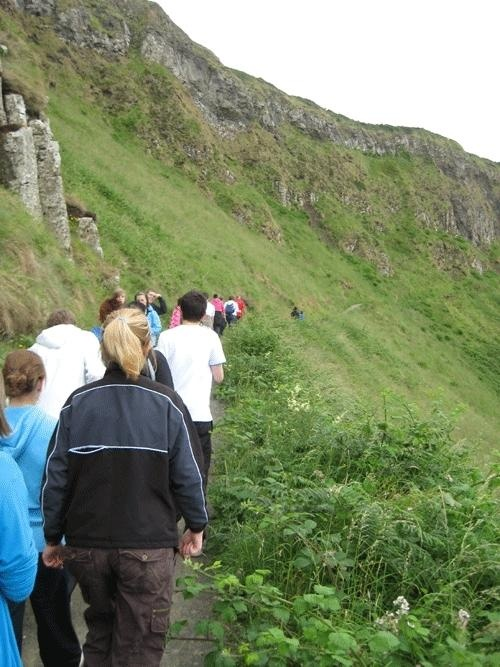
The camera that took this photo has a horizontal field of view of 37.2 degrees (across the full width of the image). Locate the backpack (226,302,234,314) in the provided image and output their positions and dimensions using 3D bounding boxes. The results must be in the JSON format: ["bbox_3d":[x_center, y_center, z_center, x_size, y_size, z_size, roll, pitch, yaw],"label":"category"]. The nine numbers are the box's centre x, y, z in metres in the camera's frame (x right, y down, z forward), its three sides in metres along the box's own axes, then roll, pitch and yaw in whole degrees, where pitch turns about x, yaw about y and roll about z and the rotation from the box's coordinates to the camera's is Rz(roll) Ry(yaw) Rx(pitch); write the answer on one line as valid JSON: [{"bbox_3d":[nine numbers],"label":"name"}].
[{"bbox_3d":[-0.492,-0.726,20.245,0.219,0.233,0.088,-29,-15,30],"label":"backpack"}]
